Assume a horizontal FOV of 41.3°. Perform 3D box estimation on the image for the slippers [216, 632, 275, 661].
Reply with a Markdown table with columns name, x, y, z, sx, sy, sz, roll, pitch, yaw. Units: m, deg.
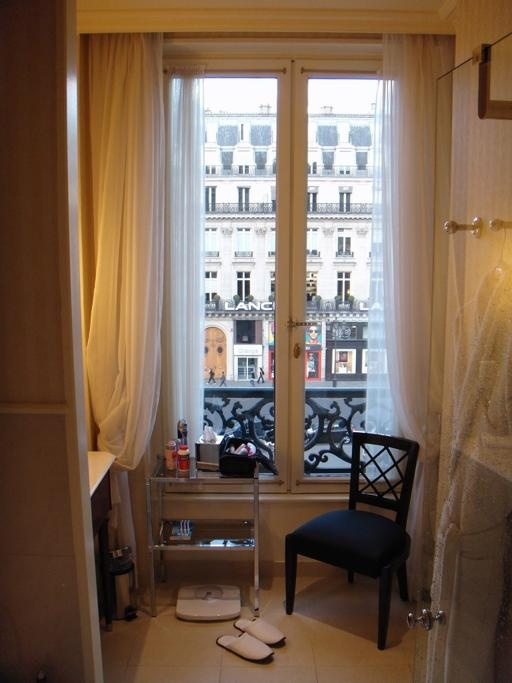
| name | x | y | z | sx | sy | sz | roll | pitch | yaw |
| --- | --- | --- | --- | --- | --- | --- | --- | --- | --- |
| slippers | -0.046 | 1.140 | 2.538 | 0.084 | 0.082 | 0.201 | -11 | 5 | -43 |

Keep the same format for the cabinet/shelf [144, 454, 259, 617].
| name | x | y | z | sx | sy | sz | roll | pitch | yaw |
| --- | --- | --- | --- | --- | --- | --- | --- | --- | --- |
| cabinet/shelf | -0.231 | 0.781 | 3.003 | 0.354 | 0.800 | 0.611 | 0 | 2 | 3 |
